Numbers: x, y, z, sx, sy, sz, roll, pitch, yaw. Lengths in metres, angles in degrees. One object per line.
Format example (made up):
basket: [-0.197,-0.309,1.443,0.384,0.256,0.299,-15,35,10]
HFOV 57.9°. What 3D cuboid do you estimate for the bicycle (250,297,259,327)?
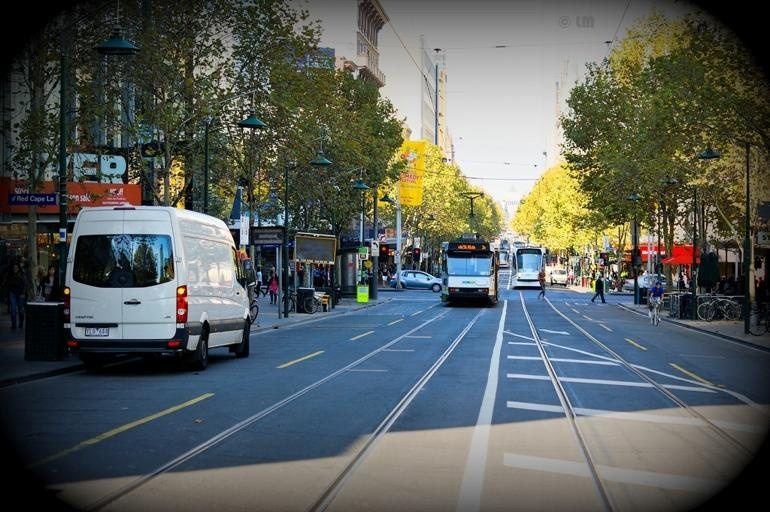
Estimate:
bicycle: [-5.971,2.568,31.737,0.178,1.132,0.606,6,-12,-5]

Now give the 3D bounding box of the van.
van: [-5.694,0.845,18.956,3.021,3.643,7.055,0,-2,4]

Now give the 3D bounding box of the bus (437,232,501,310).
bus: [5.968,1.621,47.789,3.270,4.659,10.816,0,-7,9]

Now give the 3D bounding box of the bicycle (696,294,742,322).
bicycle: [16.591,2.587,35.144,2.093,1.353,1.096,-1,2,-2]
